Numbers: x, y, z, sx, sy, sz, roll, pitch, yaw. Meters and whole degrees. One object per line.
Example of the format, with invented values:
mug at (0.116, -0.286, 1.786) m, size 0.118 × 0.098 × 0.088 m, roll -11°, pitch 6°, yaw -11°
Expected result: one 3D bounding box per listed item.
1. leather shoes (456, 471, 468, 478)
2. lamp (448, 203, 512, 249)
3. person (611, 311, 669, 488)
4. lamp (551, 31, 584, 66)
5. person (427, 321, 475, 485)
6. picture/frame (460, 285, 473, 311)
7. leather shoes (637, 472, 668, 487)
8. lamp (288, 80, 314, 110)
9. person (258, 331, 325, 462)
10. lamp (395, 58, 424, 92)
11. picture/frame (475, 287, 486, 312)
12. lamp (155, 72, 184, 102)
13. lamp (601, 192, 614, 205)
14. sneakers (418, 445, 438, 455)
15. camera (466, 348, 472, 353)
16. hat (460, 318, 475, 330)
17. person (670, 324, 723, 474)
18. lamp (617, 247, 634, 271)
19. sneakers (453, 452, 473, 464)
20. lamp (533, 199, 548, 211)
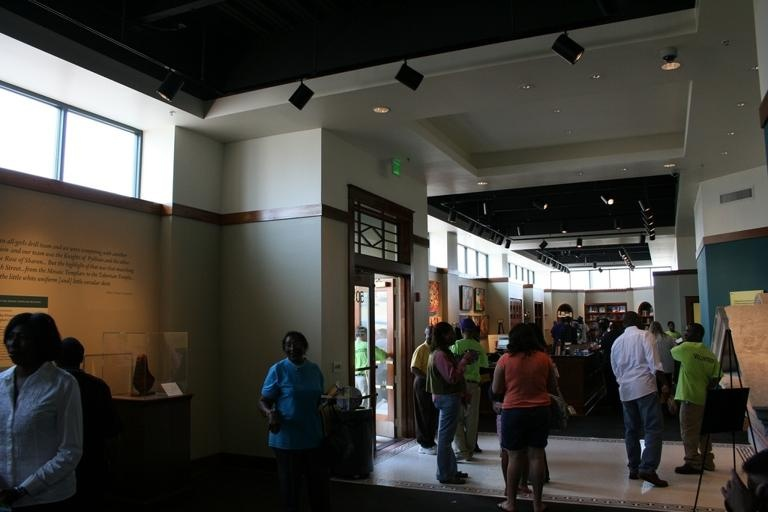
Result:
leather shoes at (0.959, 2.766, 6.890) m, size 0.189 × 0.078 × 0.071 m, roll -9°, pitch -9°, yaw 39°
lamp at (2.470, -0.704, 14.290) m, size 0.980 × 0.692 × 4.370 m, roll -2°, pitch -4°, yaw 21°
person at (3.132, 1.720, 6.721) m, size 0.578 × 2.077 × 0.404 m, roll -4°, pitch -5°, yaw 35°
lamp at (1.905, -2.194, 5.686) m, size 0.347 × 0.193 × 0.196 m, roll 37°, pitch -22°, yaw 8°
person at (0.801, 1.822, 6.749) m, size 0.500 × 1.996 × 0.860 m, roll -1°, pitch -4°, yaw 4°
picture/frame at (2.679, 1.364, 17.978) m, size 0.084 × 0.621 × 0.857 m, roll -3°, pitch -6°, yaw 23°
leather shoes at (3.241, 2.674, 6.592) m, size 0.318 × 0.152 × 0.233 m, roll -3°, pitch -4°, yaw 24°
lamp at (-0.979, -1.913, 6.398) m, size 0.256 × 0.421 × 0.336 m, roll 0°, pitch -4°, yaw -11°
person at (-0.900, 1.297, 5.293) m, size 0.602 × 1.088 × 0.292 m, roll 0°, pitch -4°, yaw -10°
lamp at (0.277, -2.012, 5.981) m, size 0.232 × 0.328 × 0.164 m, roll -4°, pitch -5°, yaw 35°
picture/frame at (3.377, 1.522, 19.286) m, size 0.109 × 0.728 × 0.838 m, roll -4°, pitch -9°, yaw 26°
lamp at (-2.434, -1.963, 6.223) m, size 0.258 × 0.332 × 0.146 m, roll 1°, pitch -4°, yaw -29°
lamp at (4.932, -1.306, 12.071) m, size 0.091 × 0.127 × 0.413 m, roll -36°, pitch 1°, yaw 16°
sneakers at (0.656, 2.887, 8.119) m, size 0.319 × 0.153 × 0.119 m, roll -3°, pitch -5°, yaw 19°
camera at (0.994, 1.104, 6.391) m, size 0.066 × 0.040 × 0.096 m, roll -1°, pitch -7°, yaw 6°
hat at (1.168, 0.949, 7.674) m, size 0.185 × 0.146 × 0.303 m, roll 22°, pitch 5°, yaw 4°
person at (3.968, 1.809, 6.958) m, size 0.523 × 1.889 × 0.635 m, roll 0°, pitch -4°, yaw -17°
lamp at (9.703, 0.056, 21.961) m, size 0.307 × 0.253 × 1.605 m, roll -7°, pitch -35°, yaw 33°
sneakers at (1.123, 2.830, 7.680) m, size 0.231 × 0.087 × 0.148 m, roll 7°, pitch -6°, yaw -5°
lamp at (3.519, -1.176, 12.535) m, size 0.275 × 0.179 × 0.467 m, roll -2°, pitch 9°, yaw -10°
